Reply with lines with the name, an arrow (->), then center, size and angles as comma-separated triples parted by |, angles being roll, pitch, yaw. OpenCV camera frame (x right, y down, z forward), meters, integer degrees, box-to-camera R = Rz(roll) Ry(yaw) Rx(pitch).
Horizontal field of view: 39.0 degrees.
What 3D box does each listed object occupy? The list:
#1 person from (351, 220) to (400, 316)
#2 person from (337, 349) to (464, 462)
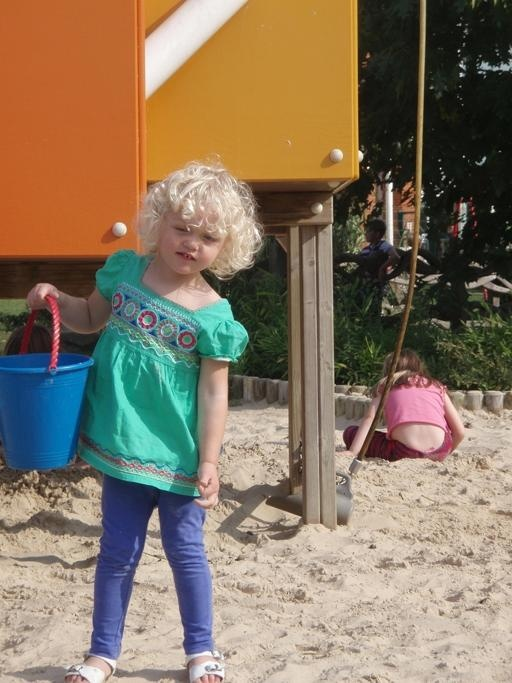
person -> 1.294, -0.840, 7.861 | 0.480, 1.070, 1.341 | 0, 5, 8
person -> 0.877, 0.390, 4.261 | 0.845, 0.742, 0.634 | 3, 4, 6
